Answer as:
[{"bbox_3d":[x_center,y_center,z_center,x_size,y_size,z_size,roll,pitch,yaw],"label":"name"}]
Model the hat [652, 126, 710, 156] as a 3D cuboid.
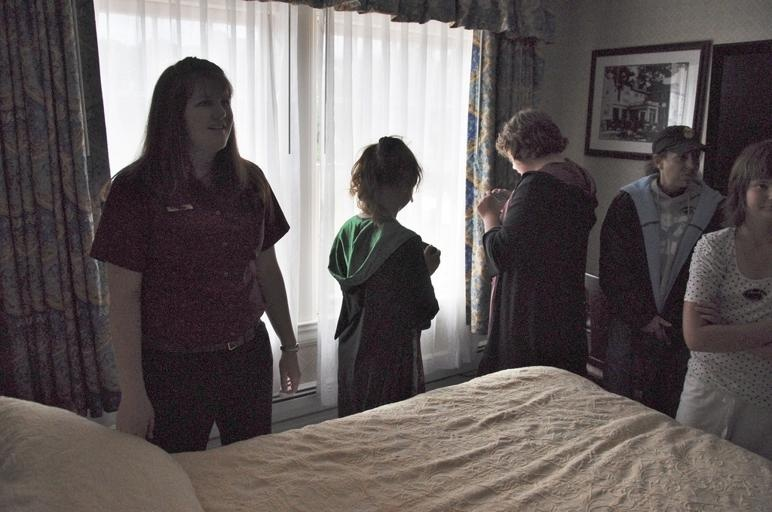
[{"bbox_3d":[1.491,-0.566,3.241,0.157,0.120,0.211,-6,5,-26],"label":"hat"}]
